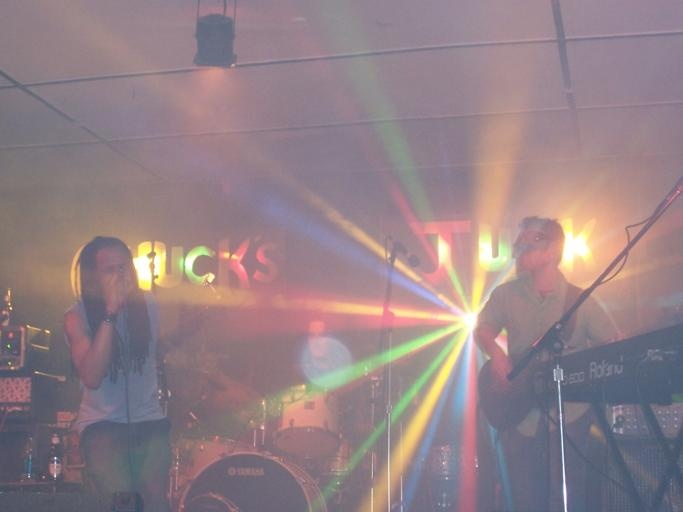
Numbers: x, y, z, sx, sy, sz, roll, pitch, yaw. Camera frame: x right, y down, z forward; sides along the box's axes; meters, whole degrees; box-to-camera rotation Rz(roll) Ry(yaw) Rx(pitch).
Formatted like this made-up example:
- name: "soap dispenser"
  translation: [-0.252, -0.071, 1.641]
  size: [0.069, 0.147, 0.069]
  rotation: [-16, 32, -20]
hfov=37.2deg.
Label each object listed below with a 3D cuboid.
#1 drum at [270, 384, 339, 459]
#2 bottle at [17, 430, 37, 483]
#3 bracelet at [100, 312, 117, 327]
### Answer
- name: "drum"
  translation: [-0.302, 1.698, 10.238]
  size: [0.642, 0.633, 0.680]
  rotation: [-5, -31, 14]
- name: "bottle"
  translation: [-3.017, 1.929, 9.788]
  size: [0.120, 0.426, 0.102]
  rotation: [6, -21, -15]
- name: "bracelet"
  translation: [-1.705, 0.455, 7.429]
  size: [0.094, 0.090, 0.096]
  rotation: [7, -29, -17]
